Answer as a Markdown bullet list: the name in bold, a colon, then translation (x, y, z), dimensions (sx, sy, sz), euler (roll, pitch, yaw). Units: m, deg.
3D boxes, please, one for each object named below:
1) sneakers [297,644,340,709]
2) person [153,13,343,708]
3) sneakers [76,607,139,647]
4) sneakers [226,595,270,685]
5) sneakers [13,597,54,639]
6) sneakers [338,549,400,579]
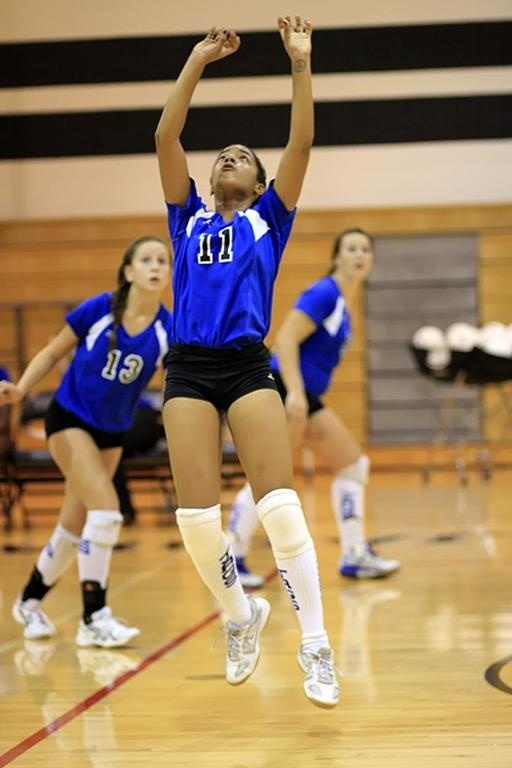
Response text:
- **sneakers**: translation (0.123, 0.583, 1.766), dimensions (0.071, 0.108, 0.131), euler (-2, -2, 0)
- **person**: translation (-0.031, -0.067, 1.884), dimensions (0.355, 1.434, 0.299), euler (-3, -2, 6)
- **sneakers**: translation (-0.412, 0.674, 2.447), dimensions (0.170, 0.102, 0.139), euler (-2, -2, -11)
- **sneakers**: translation (-0.032, 0.546, 1.950), dimensions (0.070, 0.209, 0.086), euler (-12, -34, 42)
- **sneakers**: translation (-0.647, 0.693, 2.580), dimensions (0.095, 0.127, 0.052), euler (-9, -34, -15)
- **sneakers**: translation (0.426, 0.667, 3.326), dimensions (0.195, 0.090, 0.109), euler (-4, -1, 27)
